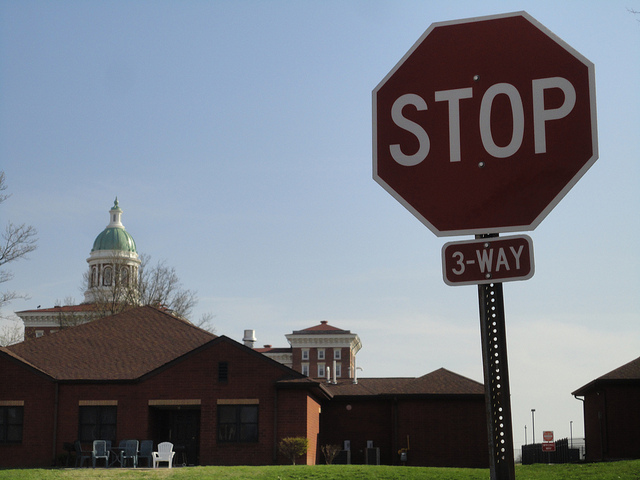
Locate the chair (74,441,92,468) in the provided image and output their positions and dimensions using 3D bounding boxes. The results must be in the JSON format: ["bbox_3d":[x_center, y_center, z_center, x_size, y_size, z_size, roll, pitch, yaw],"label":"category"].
[{"bbox_3d":[-8.294,7.471,34.842,0.564,1.013,2.790,3,-18,-14],"label":"chair"}]

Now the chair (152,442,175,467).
[{"bbox_3d":[-5.315,7.115,33.774,0.763,1.092,0.763,-2,-22,1],"label":"chair"}]

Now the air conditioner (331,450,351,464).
[{"bbox_3d":[0.797,8.380,38.687,0.766,0.850,0.447,0,-2,10],"label":"air conditioner"}]

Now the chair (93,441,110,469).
[{"bbox_3d":[-7.290,7.026,33.335,0.627,0.993,0.628,2,-22,-13],"label":"chair"}]

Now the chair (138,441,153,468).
[{"bbox_3d":[-6.090,7.401,34.996,0.585,1.174,0.804,-1,-12,3],"label":"chair"}]
